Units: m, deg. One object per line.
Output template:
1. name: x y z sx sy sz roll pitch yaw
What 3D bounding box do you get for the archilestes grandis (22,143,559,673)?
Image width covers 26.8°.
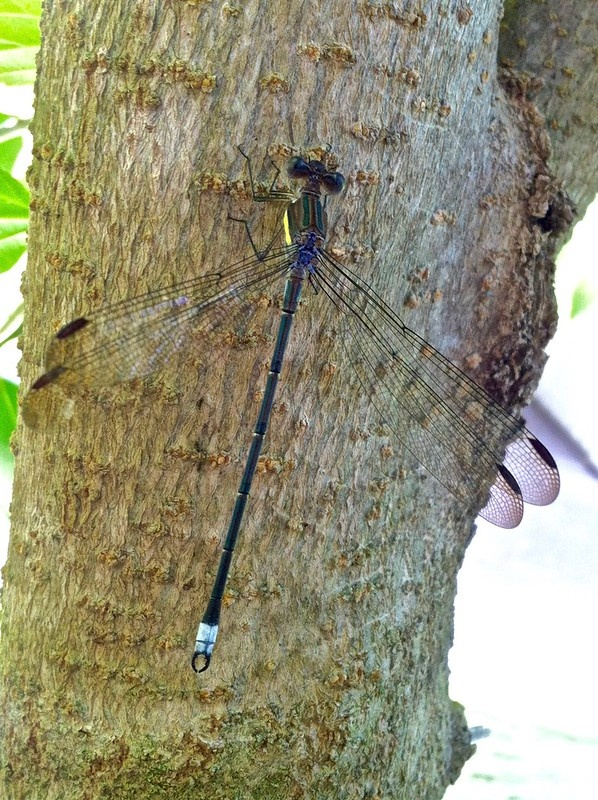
1. archilestes grandis: 0.036 0.156 2.829 1.343 0.965 0.560 32 -35 -26
